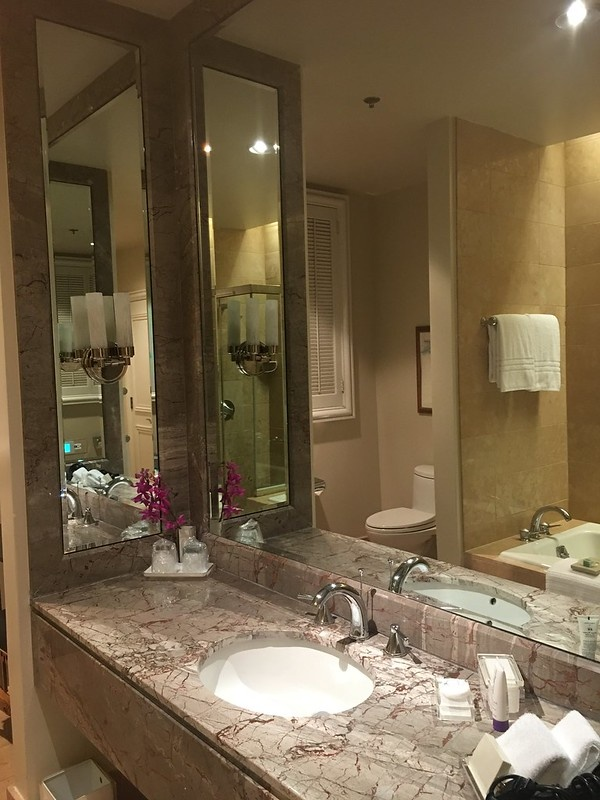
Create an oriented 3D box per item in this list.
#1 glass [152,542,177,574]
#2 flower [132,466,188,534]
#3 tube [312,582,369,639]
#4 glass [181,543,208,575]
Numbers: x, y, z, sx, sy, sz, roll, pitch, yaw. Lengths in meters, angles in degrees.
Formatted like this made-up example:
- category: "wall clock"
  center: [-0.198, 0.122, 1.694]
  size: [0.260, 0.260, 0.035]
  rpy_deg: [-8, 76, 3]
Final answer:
- category: "glass"
  center: [-0.412, 0.476, 1.983]
  size: [0.087, 0.095, 0.088]
  rpy_deg: [3, 1, 8]
- category: "flower"
  center: [-0.457, 0.332, 2.127]
  size: [0.067, 0.235, 0.168]
  rpy_deg: [-2, 3, 35]
- category: "tube"
  center: [0.090, 0.462, 1.500]
  size: [0.118, 0.125, 0.189]
  rpy_deg: [-4, 2, 2]
- category: "glass"
  center: [-0.318, 0.475, 1.979]
  size: [0.081, 0.087, 0.080]
  rpy_deg: [0, -6, 7]
